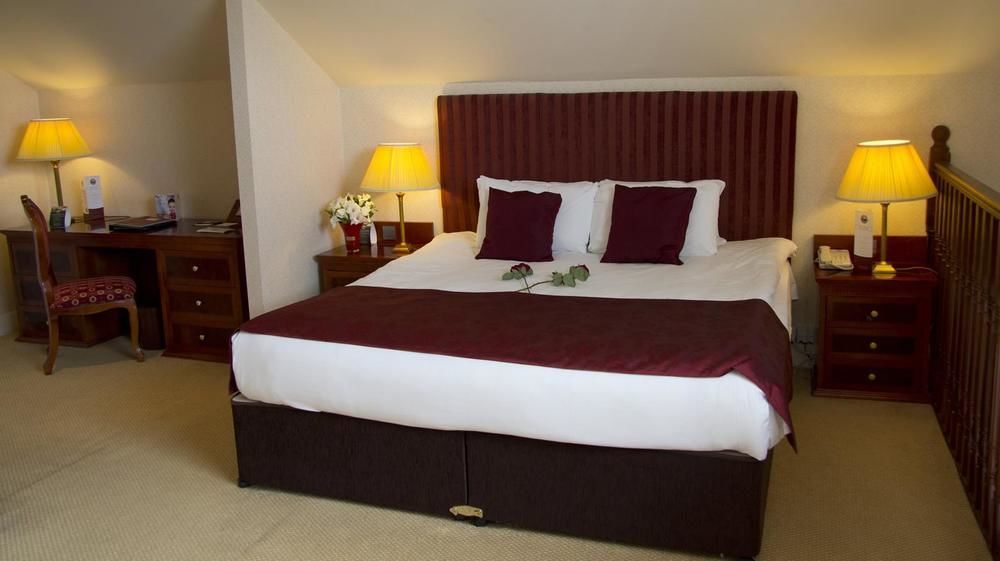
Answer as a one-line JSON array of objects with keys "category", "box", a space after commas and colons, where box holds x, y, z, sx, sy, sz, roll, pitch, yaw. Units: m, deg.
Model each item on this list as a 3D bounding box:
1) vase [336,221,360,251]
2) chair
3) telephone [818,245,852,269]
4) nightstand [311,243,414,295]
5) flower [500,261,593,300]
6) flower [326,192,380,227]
[{"category": "vase", "box": [-1.281, -0.375, 6.293, 0.229, 0.251, 0.231, 0, 1, 37]}, {"category": "chair", "box": [-3.550, 0.011, 6.171, 0.785, 1.462, 0.756, -5, 10, -30]}, {"category": "telephone", "box": [2.571, -0.163, 5.579, 0.212, 0.050, 0.203, 2, 20, 8]}, {"category": "nightstand", "box": [-1.190, -0.174, 6.153, 0.626, 0.566, 0.485, 7, 16, 26]}, {"category": "flower", "box": [0.332, -0.022, 5.014, 0.390, 0.134, 0.290, -14, 21, -35]}, {"category": "flower", "box": [-1.292, -0.613, 6.183, 0.340, 0.186, 0.338, 7, 14, 26]}]
